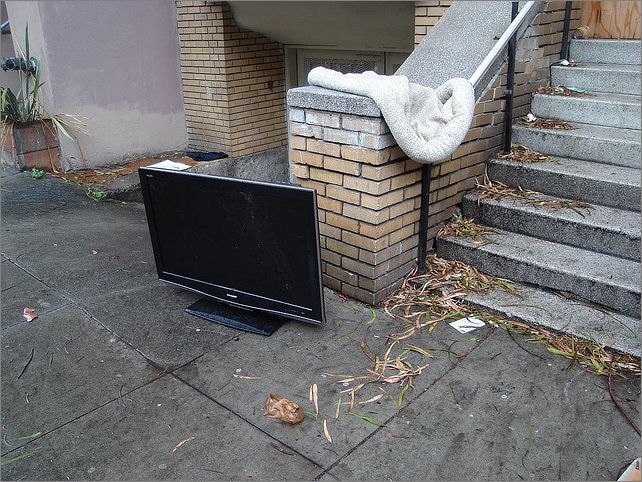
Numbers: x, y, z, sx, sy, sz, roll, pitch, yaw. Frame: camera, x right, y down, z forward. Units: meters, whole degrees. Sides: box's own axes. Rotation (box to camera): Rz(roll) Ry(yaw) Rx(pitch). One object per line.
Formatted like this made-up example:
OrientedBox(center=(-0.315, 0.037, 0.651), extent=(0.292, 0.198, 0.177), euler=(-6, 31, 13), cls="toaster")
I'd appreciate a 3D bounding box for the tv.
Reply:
OrientedBox(center=(-0.621, 0.106, 3.402), extent=(1.306, 0.828, 0.181), euler=(10, 32, 25), cls="tv")
